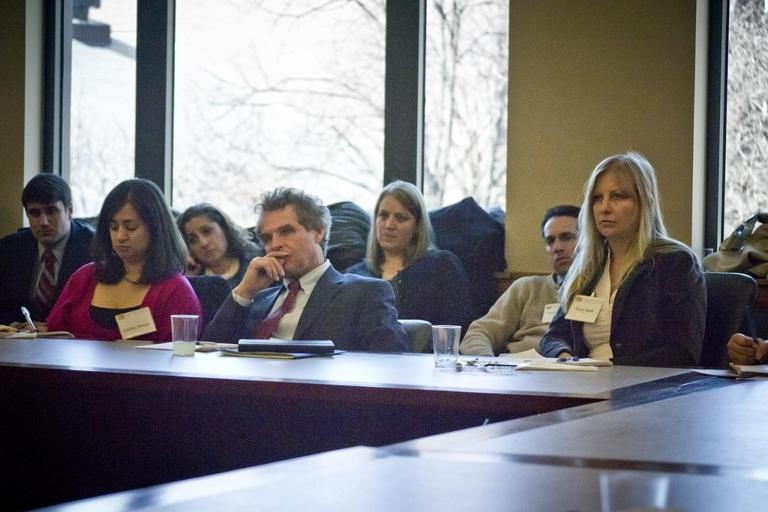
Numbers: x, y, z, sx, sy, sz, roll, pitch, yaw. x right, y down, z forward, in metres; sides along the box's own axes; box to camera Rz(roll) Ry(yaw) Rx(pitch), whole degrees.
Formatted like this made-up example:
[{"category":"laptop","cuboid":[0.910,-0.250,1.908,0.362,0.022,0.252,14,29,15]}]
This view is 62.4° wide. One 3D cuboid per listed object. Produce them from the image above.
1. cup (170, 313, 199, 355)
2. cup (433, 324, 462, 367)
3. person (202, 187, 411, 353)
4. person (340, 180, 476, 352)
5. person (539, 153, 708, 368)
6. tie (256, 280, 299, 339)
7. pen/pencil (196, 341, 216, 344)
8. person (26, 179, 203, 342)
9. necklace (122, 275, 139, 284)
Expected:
[{"category":"cup","cuboid":[-0.710,0.288,2.244,0.112,0.124,0.112,-2,-8,0]},{"category":"cup","cuboid":[0.180,0.303,2.080,0.122,0.149,0.109,1,-9,-2]},{"category":"person","cuboid":[-0.349,0.116,2.819,0.907,0.801,0.484,-2,2,20]},{"category":"person","cuboid":[0.147,0.068,3.586,0.829,0.905,0.513,-14,-27,38]},{"category":"person","cuboid":[1.033,0.045,2.808,0.626,0.974,0.660,4,-5,-33]},{"category":"tie","cuboid":[-0.442,0.245,2.731,0.084,0.237,0.175,36,-15,-20]},{"category":"pen/pencil","cuboid":[-0.685,0.343,2.473,0.093,0.017,0.011,3,-7,13]},{"category":"person","cuboid":[-1.241,0.024,3.173,0.837,0.774,0.473,5,4,15]},{"category":"necklace","cuboid":[-1.223,0.117,3.066,0.046,0.034,0.045,2,-9,-9]}]
